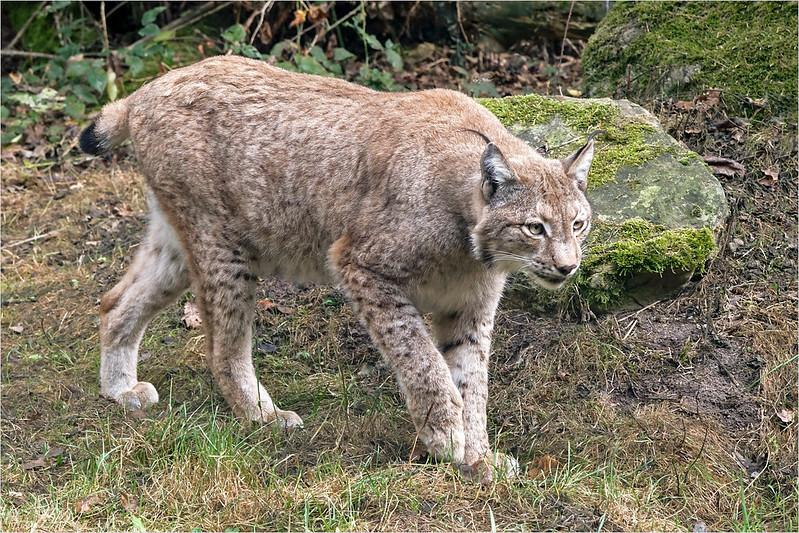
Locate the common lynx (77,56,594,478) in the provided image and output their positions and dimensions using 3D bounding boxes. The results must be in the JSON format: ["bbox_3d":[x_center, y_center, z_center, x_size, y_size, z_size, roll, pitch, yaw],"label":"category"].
[{"bbox_3d":[-0.412,-0.153,6.913,3.702,2.712,1.695,9,31,19],"label":"common lynx"}]
